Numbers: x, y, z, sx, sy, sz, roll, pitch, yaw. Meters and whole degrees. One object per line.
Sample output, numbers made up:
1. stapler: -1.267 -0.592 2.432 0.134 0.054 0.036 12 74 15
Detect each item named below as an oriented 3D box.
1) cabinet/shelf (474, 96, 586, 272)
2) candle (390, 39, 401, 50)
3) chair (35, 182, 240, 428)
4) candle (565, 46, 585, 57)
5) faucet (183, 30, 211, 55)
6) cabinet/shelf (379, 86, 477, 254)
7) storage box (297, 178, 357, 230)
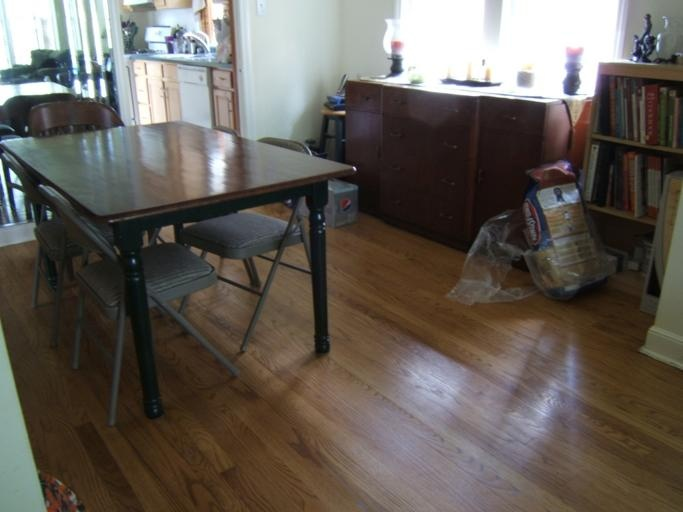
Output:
1. cabinet/shelf: 1.024 -0.517 3.306 0.478 0.864 0.162 20 32 38
2. candle: 0.399 -1.581 4.045 0.073 0.070 0.074 15 31 27
3. chair: -0.899 0.123 2.339 0.601 0.892 0.621 -18 29 -31
4. candle: 1.365 -1.190 3.160 0.072 0.050 0.071 -14 24 -31
5. faucet: -1.523 -2.254 5.718 0.256 0.214 0.595 -9 26 -16
6. cabinet/shelf: 0.710 -0.691 3.834 0.511 1.029 0.889 -20 30 -34
7. storage box: -0.084 -0.293 3.205 0.206 0.257 0.377 -18 36 -32
